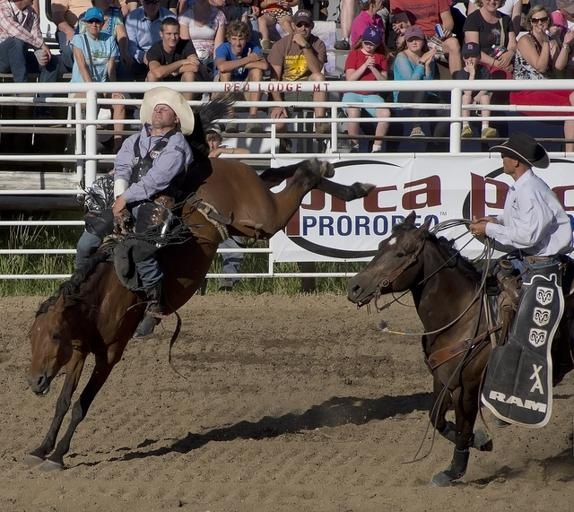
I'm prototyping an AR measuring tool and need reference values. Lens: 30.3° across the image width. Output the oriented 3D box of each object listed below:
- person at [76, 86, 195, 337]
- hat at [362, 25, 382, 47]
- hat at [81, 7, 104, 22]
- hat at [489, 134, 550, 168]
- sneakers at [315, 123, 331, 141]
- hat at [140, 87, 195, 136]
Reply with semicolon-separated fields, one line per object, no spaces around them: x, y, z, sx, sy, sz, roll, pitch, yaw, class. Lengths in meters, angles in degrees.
-1.062;-0.398;8.321;0.633;1.794;0.559;1;11;3;person
1.004;-2.610;12.711;0.179;0.162;0.278;26;14;-8;hat
-2.303;-2.851;12.707;0.186;0.099;0.271;1;11;-4;hat
1.736;-0.714;7.916;0.316;0.123;0.279;29;19;22;hat
0.388;-1.377;11.919;0.133;0.217;0.071;0;7;1;sneakers
-0.920;-1.131;8.294;0.385;0.386;0.107;0;24;21;hat
